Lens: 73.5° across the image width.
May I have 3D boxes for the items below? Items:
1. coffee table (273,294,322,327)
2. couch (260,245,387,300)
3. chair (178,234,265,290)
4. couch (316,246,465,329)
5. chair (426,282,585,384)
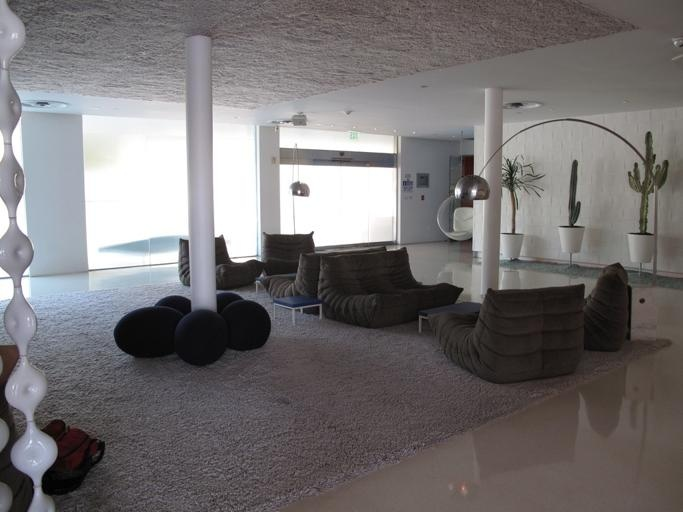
[{"bbox_3d":[-0.598,0.732,6.642,0.489,0.237,0.486,-3,8,-40],"label":"coffee table"},{"bbox_3d":[-0.802,0.216,7.908,1.173,0.478,0.842,-36,16,-34],"label":"couch"},{"bbox_3d":[-2.476,0.162,9.359,1.571,1.178,1.668,-4,5,-8],"label":"chair"},{"bbox_3d":[0.495,0.501,6.769,1.677,0.843,1.239,-5,7,-36],"label":"couch"},{"bbox_3d":[1.820,0.726,5.155,1.600,0.960,1.773,4,5,37],"label":"chair"}]
